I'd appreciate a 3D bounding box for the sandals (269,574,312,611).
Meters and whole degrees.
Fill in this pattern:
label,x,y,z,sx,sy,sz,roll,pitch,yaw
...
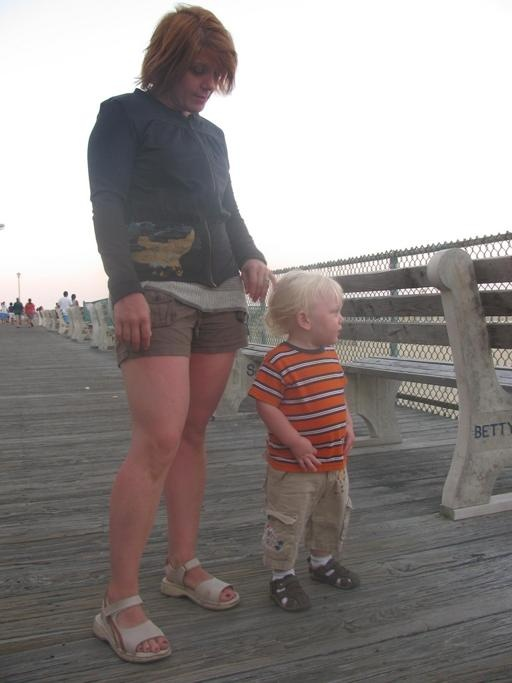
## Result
label,x,y,z,sx,sy,sz,roll,pitch,yaw
sandals,0.092,0.688,1.364,0.061,0.054,0.114,-1,-6,-21

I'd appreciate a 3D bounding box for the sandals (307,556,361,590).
label,x,y,z,sx,sy,sz,roll,pitch,yaw
sandals,0.238,0.696,1.510,0.140,0.061,0.069,-1,1,34

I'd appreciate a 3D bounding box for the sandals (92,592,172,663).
label,x,y,z,sx,sy,sz,roll,pitch,yaw
sandals,-0.294,0.650,1.181,0.097,0.099,0.212,3,-1,-43

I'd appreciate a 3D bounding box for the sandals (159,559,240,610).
label,x,y,z,sx,sy,sz,roll,pitch,yaw
sandals,-0.162,0.687,1.465,0.257,0.111,0.097,-1,2,35
